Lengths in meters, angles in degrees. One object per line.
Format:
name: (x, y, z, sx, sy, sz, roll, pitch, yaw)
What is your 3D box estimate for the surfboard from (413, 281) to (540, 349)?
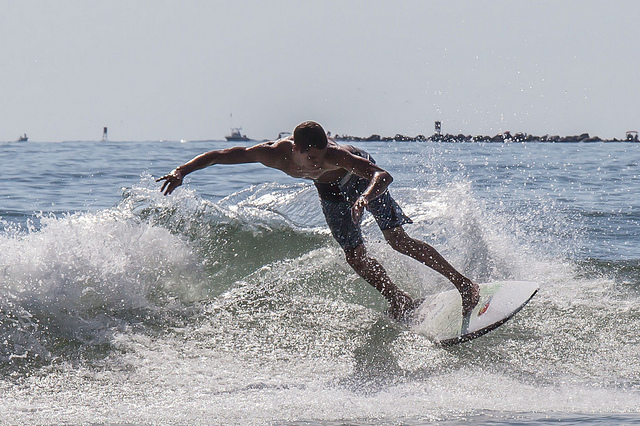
surfboard: (1.855, 1.193, 11.054, 2.001, 0.574, 0.271, -20, -49, 24)
